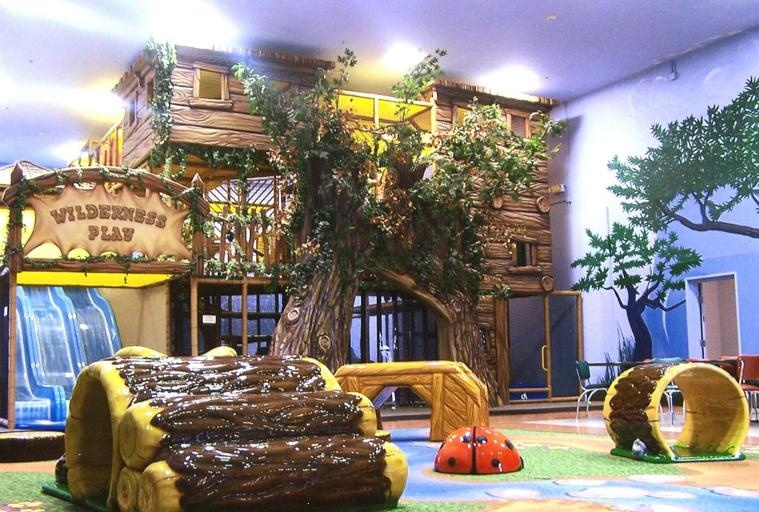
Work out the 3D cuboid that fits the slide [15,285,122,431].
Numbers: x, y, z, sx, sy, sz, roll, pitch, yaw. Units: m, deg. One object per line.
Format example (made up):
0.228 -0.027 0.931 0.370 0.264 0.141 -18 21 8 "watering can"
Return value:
-5.953 1.803 14.551 1.876 2.492 3.542 2 -4 -27 "slide"
